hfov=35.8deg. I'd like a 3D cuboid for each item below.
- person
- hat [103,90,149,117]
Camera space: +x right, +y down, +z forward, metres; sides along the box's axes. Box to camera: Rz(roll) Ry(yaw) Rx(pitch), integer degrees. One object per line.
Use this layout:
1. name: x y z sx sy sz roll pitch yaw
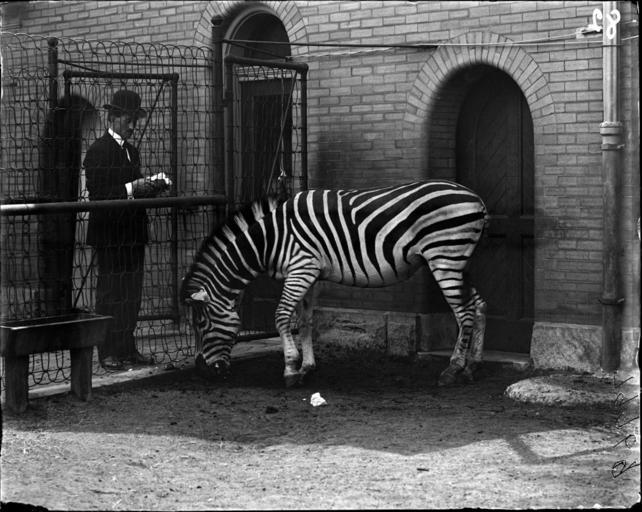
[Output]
1. person: -1.878 -0.243 9.560 0.753 2.657 0.695 -5 8 -28
2. hat: -1.943 -1.533 10.013 0.480 0.255 0.607 1 5 -11
